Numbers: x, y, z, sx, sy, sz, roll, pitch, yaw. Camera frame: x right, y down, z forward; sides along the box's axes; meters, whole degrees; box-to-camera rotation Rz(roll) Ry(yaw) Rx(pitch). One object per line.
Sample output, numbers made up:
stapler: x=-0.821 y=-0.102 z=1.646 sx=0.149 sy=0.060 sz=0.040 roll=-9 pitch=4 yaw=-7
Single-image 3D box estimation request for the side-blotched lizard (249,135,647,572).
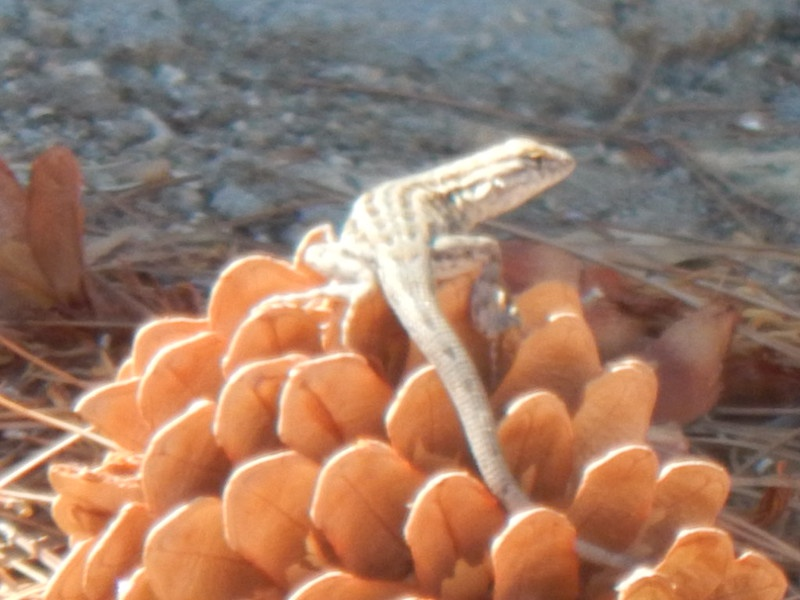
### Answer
side-blotched lizard: x=0.051 y=0.012 z=0.642 sx=0.197 sy=0.060 sz=0.351 roll=-7 pitch=35 yaw=-2
